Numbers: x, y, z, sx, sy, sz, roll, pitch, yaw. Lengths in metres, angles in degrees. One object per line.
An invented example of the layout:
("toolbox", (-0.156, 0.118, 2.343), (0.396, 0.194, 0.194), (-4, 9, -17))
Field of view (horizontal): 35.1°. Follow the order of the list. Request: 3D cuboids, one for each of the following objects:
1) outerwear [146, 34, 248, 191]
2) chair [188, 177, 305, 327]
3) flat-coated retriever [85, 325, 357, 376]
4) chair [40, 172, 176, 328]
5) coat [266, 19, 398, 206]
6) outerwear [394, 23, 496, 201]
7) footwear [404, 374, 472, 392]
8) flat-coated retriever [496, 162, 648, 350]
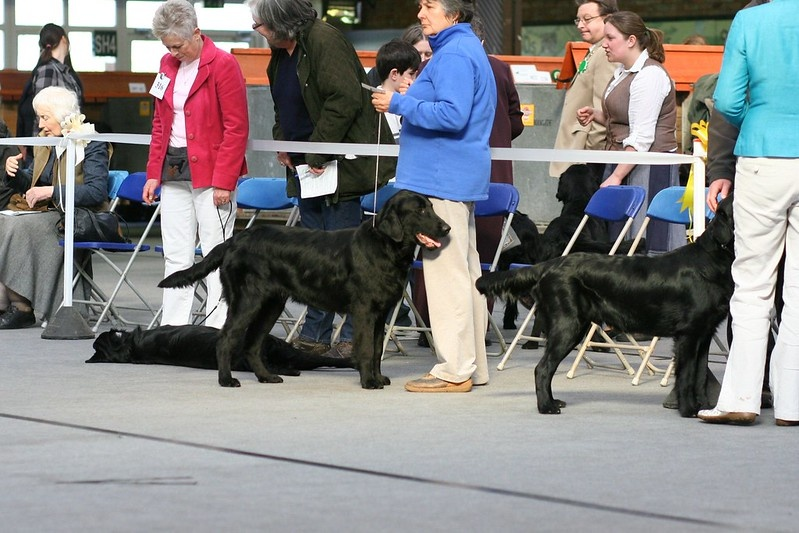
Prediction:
("outerwear", (-1.412, -1.109, 9.103), (0.940, 0.996, 0.582), (7, 13, 39))
("chair", (-1.212, -0.420, 10.317), (0.871, 0.978, 0.621), (2, 1, -3))
("flat-coated retriever", (-1.211, 0.586, 8.609), (1.849, 0.437, 0.416), (-5, 9, 10))
("chair", (-2.415, -0.128, 10.419), (1.003, 1.038, 0.883), (1, 3, 1))
("coat", (-0.516, -1.154, 8.768), (0.763, 0.936, 0.850), (-13, 19, -40))
("outerwear", (0.259, -0.932, 7.652), (0.634, 1.067, 0.374), (1, 11, 3))
("footwear", (0.242, 0.725, 7.882), (0.411, 0.138, 0.136), (3, -5, -3))
("flat-coated retriever", (1.231, -0.350, 9.547), (0.611, 1.102, 2.224), (4, 8, 25))
